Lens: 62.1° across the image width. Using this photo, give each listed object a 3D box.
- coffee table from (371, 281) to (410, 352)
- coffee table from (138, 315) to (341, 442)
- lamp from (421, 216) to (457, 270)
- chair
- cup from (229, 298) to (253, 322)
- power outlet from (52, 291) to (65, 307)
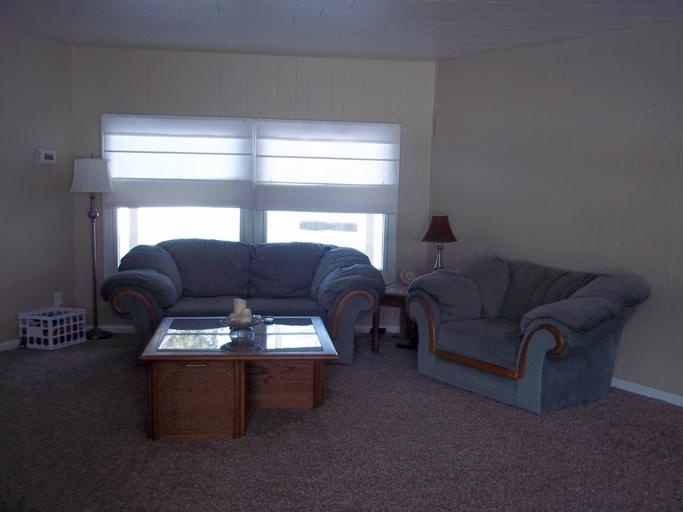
[{"bbox_3d":[0.500,0.602,5.662,0.525,0.621,0.558,0,4,-1],"label":"coffee table"},{"bbox_3d":[-0.724,0.791,4.105,1.248,0.639,0.907,-1,12,-10],"label":"coffee table"},{"bbox_3d":[0.977,-0.103,5.616,0.350,0.566,0.344,-4,6,-30],"label":"lamp"},{"bbox_3d":[1.485,0.585,4.650,1.573,0.956,1.043,12,16,42],"label":"chair"},{"bbox_3d":[-0.728,0.391,4.094,0.157,0.147,0.155,1,3,0],"label":"cup"},{"bbox_3d":[-2.826,0.443,5.685,0.076,0.156,0.118,9,14,32],"label":"power outlet"}]
